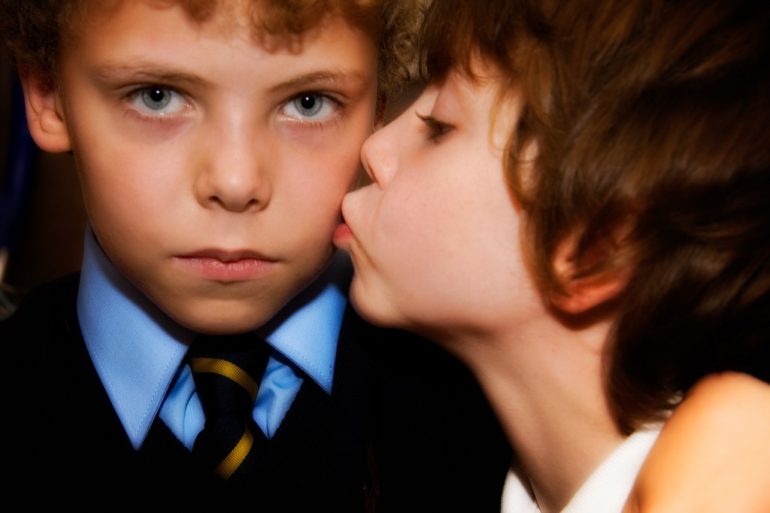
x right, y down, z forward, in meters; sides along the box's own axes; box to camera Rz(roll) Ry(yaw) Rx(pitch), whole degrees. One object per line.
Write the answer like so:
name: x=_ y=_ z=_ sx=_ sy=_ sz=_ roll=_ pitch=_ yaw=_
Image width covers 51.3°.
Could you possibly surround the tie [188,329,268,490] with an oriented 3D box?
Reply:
tie: x=-0.289 y=0.282 z=1.445 sx=0.153 sy=0.252 sz=0.066 roll=6 pitch=-13 yaw=-7
